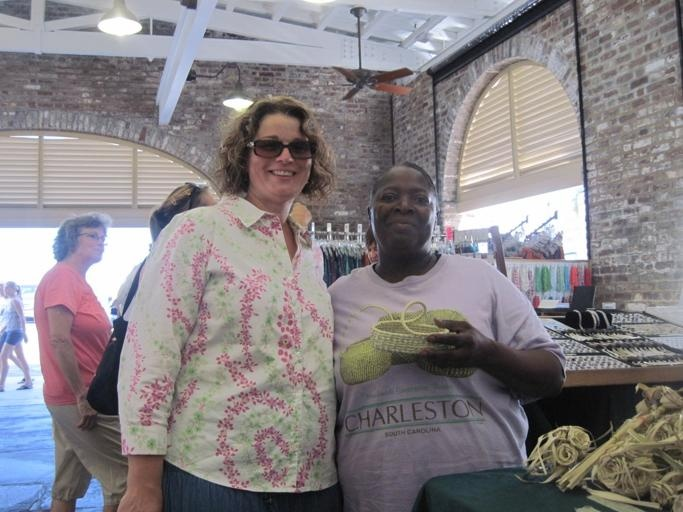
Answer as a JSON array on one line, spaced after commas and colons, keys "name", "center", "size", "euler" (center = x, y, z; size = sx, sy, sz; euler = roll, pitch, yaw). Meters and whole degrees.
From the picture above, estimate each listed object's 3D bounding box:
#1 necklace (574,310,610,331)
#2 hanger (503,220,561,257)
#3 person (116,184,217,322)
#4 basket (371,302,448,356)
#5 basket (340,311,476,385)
[{"name": "necklace", "center": [1.376, 0.349, 3.102], "size": [0.148, 0.104, 0.153], "euler": [0, -4, -42]}, {"name": "hanger", "center": [2.032, -0.110, 5.892], "size": [0.494, 0.234, 0.682], "euler": [-18, 3, 27]}, {"name": "person", "center": [-0.873, -0.181, 3.032], "size": [0.347, 0.247, 0.830], "euler": [-27, -19, -23]}, {"name": "basket", "center": [0.204, 0.240, 1.731], "size": [0.210, 0.145, 0.178], "euler": [0, -2, -6]}, {"name": "basket", "center": [0.193, 0.277, 1.777], "size": [0.382, 0.188, 0.238], "euler": [-7, -6, 34]}]
